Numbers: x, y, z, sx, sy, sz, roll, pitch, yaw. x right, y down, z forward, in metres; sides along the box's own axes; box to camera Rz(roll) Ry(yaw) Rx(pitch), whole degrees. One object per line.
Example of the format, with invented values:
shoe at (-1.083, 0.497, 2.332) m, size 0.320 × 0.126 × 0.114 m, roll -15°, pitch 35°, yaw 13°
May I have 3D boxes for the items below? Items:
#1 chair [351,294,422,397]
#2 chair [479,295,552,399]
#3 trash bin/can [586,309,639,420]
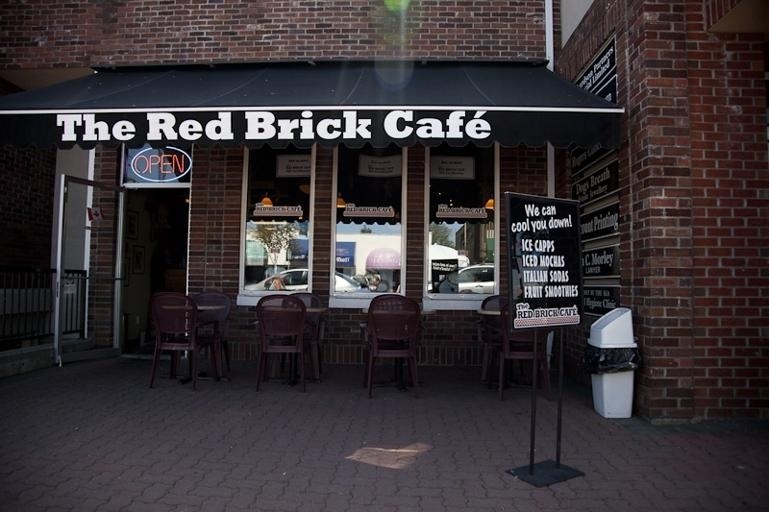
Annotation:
chair at (0.124, 1.392, 10.679) m, size 0.912 × 1.733 × 1.468 m, roll 1°, pitch 10°, yaw 3°
chair at (2.116, 1.443, 10.731) m, size 1.082 × 1.475 × 1.783 m, roll 0°, pitch 10°, yaw 0°
trash bin/can at (3.288, 1.544, 9.452) m, size 0.723 × 1.493 × 0.505 m, roll 2°, pitch 10°, yaw 10°
